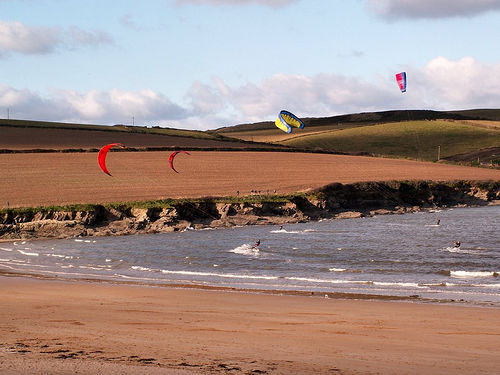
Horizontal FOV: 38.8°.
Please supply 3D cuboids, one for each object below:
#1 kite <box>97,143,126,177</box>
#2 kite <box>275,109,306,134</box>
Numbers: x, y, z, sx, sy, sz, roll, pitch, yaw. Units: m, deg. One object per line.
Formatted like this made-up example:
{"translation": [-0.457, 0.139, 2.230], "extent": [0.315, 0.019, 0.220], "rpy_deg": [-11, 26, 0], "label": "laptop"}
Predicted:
{"translation": [-13.129, -2.571, 68.326], "extent": [1.972, 3.896, 2.316], "rpy_deg": [2, 7, 29], "label": "kite"}
{"translation": [2.996, -5.378, 58.339], "extent": [2.315, 0.889, 1.754], "rpy_deg": [28, 35, 8], "label": "kite"}
